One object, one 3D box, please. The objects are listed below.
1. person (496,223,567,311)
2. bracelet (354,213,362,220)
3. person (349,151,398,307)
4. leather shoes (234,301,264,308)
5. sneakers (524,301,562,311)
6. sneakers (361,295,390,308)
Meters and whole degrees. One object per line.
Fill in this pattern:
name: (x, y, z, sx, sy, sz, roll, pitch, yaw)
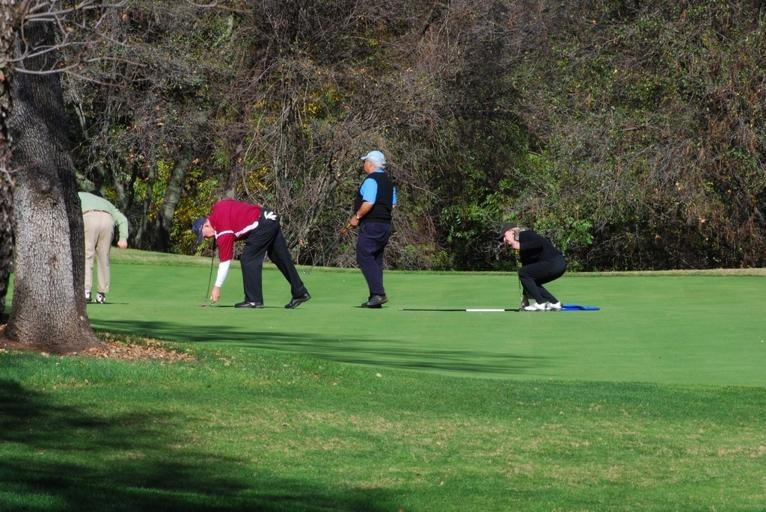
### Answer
person: (2.386, 0.151, 17.384, 0.896, 1.370, 0.861, -2, -2, 8)
bracelet: (-0.366, -0.616, 17.280, 0.089, 0.084, 0.023, -10, -38, -24)
person: (-0.159, -0.444, 17.472, 0.689, 2.490, 0.915, -2, -2, 1)
leather shoes: (-2.031, 0.733, 17.008, 0.430, 0.156, 0.142, 4, 0, 1)
sneakers: (2.450, 0.784, 17.086, 0.605, 0.219, 0.199, 1, -7, 4)
sneakers: (-0.114, 0.688, 17.180, 0.415, 0.165, 0.171, -1, 12, -15)
